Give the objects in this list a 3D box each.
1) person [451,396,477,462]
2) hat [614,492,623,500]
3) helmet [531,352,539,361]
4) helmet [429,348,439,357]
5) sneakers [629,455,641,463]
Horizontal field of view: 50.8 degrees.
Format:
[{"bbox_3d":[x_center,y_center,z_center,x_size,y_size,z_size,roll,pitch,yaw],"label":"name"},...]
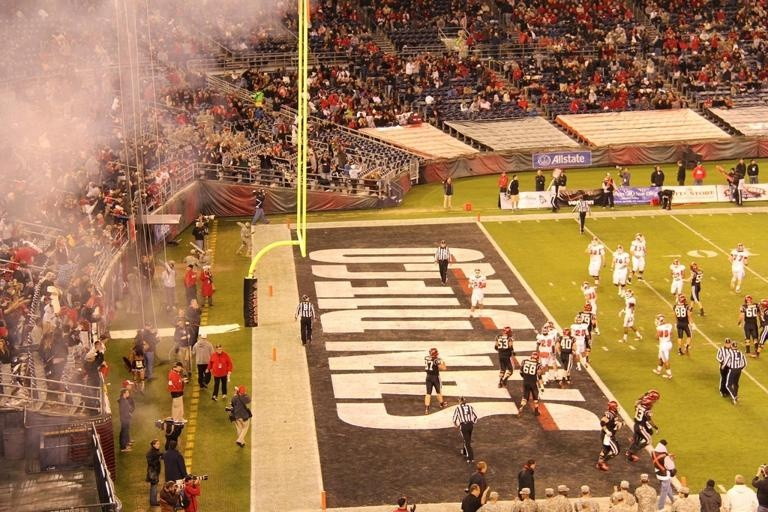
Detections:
[{"bbox_3d":[2.489,5.144,25.007,0.656,2.360,1.270,-3,28,6],"label":"person"},{"bbox_3d":[5.968,6.144,20.682,0.186,0.167,0.176,-3,0,-10],"label":"hat"},{"bbox_3d":[4.971,3.297,26.662,0.207,0.113,0.276,10,65,9],"label":"helmet"},{"bbox_3d":[1.587,3.207,26.801,0.331,0.313,0.265,-3,8,20],"label":"helmet"},{"bbox_3d":[7.777,6.304,25.206,0.319,0.120,0.165,-3,17,1],"label":"sneakers"}]
